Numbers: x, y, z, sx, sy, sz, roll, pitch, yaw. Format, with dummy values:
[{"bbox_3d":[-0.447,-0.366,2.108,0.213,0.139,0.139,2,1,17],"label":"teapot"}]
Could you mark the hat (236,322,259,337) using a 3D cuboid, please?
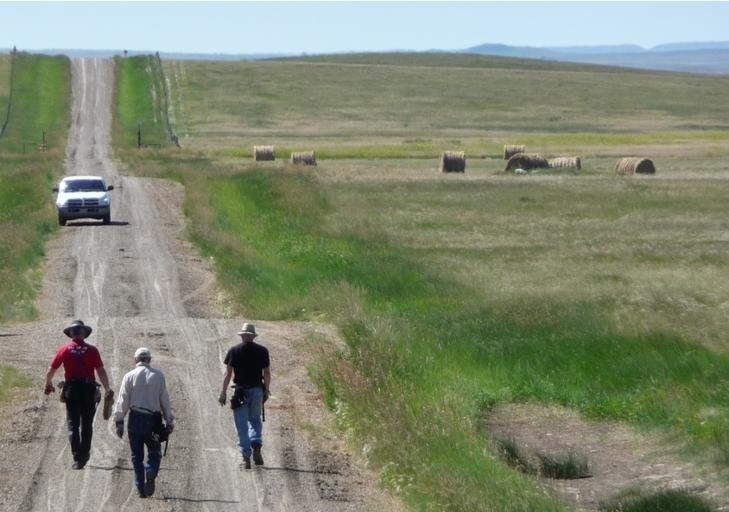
[{"bbox_3d":[-4.574,2.861,53.470,0.602,0.330,0.641,5,-11,0],"label":"hat"}]
